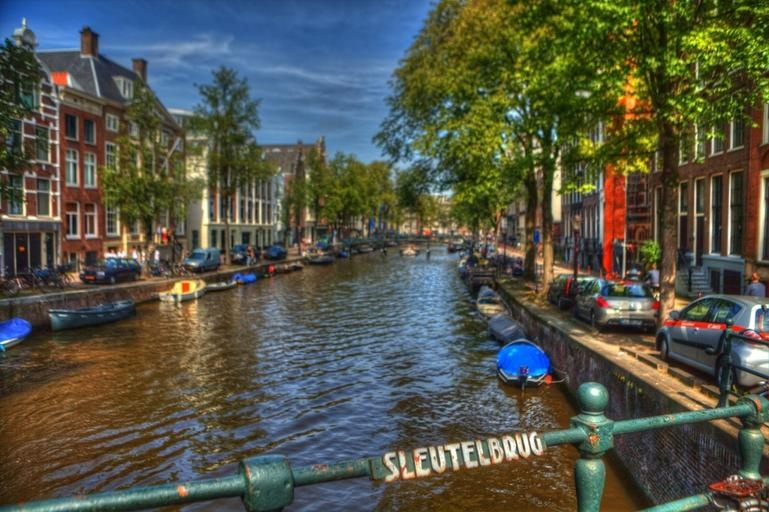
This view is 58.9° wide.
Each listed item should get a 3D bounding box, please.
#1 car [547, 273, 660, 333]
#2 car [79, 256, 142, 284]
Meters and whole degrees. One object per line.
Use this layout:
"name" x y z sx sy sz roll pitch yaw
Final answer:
"car" 9.694 2.192 30.348 1.838 1.478 4.198 1 6 -1
"car" -18.040 1.071 45.045 1.399 1.900 4.218 3 11 14
